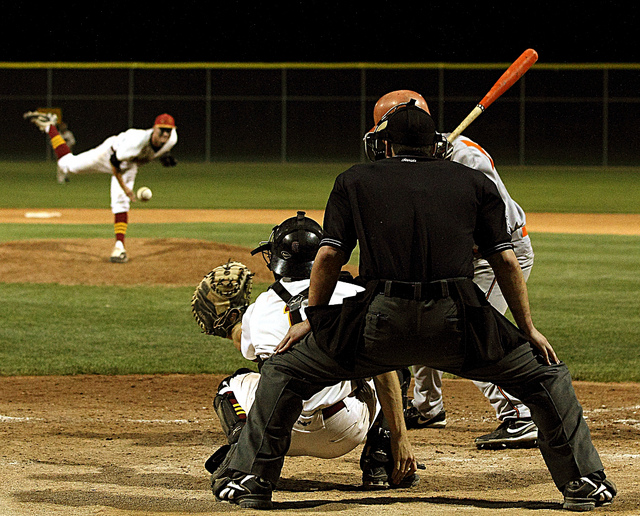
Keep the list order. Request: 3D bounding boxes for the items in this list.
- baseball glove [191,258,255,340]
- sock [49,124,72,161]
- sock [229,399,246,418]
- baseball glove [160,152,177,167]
[{"bbox_3d":[-0.625,0.264,7.236,0.228,0.465,0.397,28,2,-33],"label":"baseball glove"},{"bbox_3d":[-3.394,-1.475,14.209,0.215,0.448,0.152,-28,14,5],"label":"sock"},{"bbox_3d":[-0.521,0.954,6.986,0.028,0.096,0.104,-9,-11,-21],"label":"sock"},{"bbox_3d":[-1.991,-1.275,14.521,0.196,0.180,0.090,3,32,-2],"label":"baseball glove"}]
